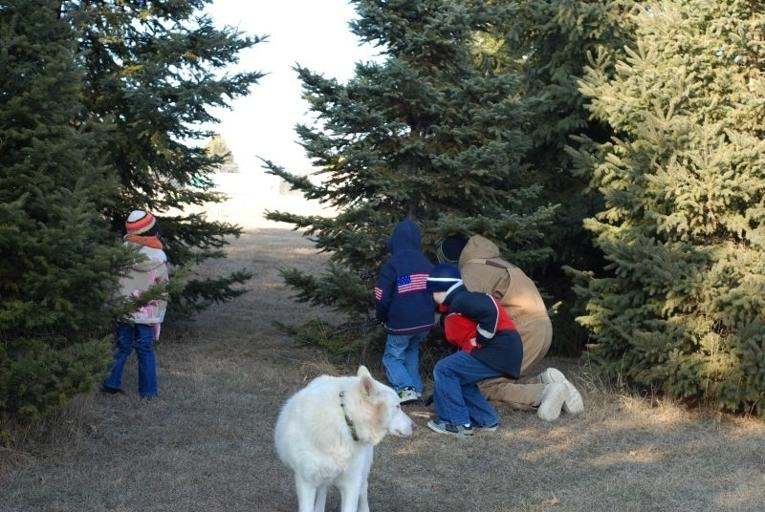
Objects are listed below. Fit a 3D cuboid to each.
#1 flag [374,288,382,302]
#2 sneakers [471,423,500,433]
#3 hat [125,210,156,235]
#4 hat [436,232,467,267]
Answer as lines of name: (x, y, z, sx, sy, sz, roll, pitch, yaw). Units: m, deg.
flag: (-0.064, 0.586, 12.153, 0.133, 0.199, 0.056, 2, 0, 16)
sneakers: (1.564, 2.551, 11.726, 0.427, 0.202, 0.152, 2, -5, 9)
hat: (-3.823, -0.537, 12.205, 0.369, 0.327, 0.391, -1, 19, 16)
hat: (1.156, -0.106, 13.238, 0.425, 0.572, 0.542, 3, -25, -2)
